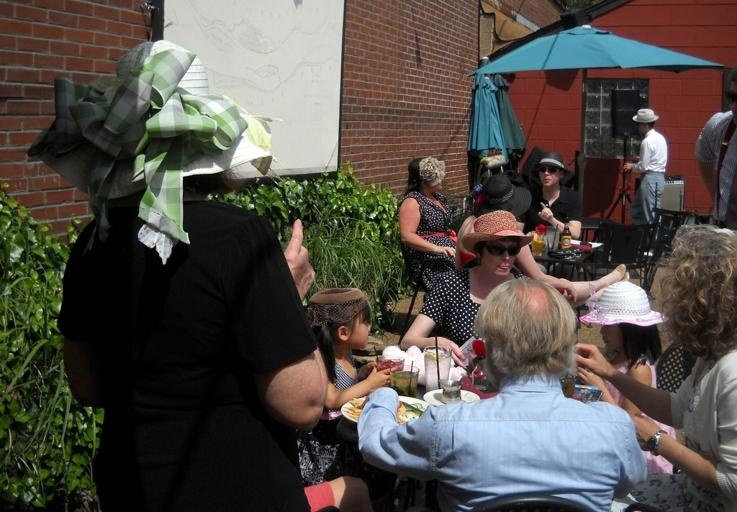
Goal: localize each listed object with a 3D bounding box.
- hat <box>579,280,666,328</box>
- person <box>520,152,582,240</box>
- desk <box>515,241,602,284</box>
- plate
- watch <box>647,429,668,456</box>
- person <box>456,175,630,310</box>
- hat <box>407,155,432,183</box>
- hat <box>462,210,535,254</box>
[{"bbox_3d":[1.561,0.283,3.889,0.550,0.283,0.559,2,-5,-32],"label":"hat"},{"bbox_3d":[2.197,-0.605,7.846,0.764,1.392,0.790,1,-1,30],"label":"person"},{"bbox_3d":[1.969,0.155,6.682,0.792,0.411,0.203,4,-4,3],"label":"desk"},{"bbox_3d":[0.156,0.764,3.276,0.370,0.057,0.386,-2,4,-10],"label":"plate"},{"bbox_3d":[1.310,0.854,2.922,0.079,0.126,0.062,7,8,27],"label":"watch"},{"bbox_3d":[1.442,-0.063,5.476,1.472,1.096,0.710,5,12,-2],"label":"person"},{"bbox_3d":[0.563,-0.987,7.253,0.270,0.312,0.225,4,11,44],"label":"hat"},{"bbox_3d":[0.836,-0.157,4.354,0.398,0.300,0.226,5,7,7],"label":"hat"}]
